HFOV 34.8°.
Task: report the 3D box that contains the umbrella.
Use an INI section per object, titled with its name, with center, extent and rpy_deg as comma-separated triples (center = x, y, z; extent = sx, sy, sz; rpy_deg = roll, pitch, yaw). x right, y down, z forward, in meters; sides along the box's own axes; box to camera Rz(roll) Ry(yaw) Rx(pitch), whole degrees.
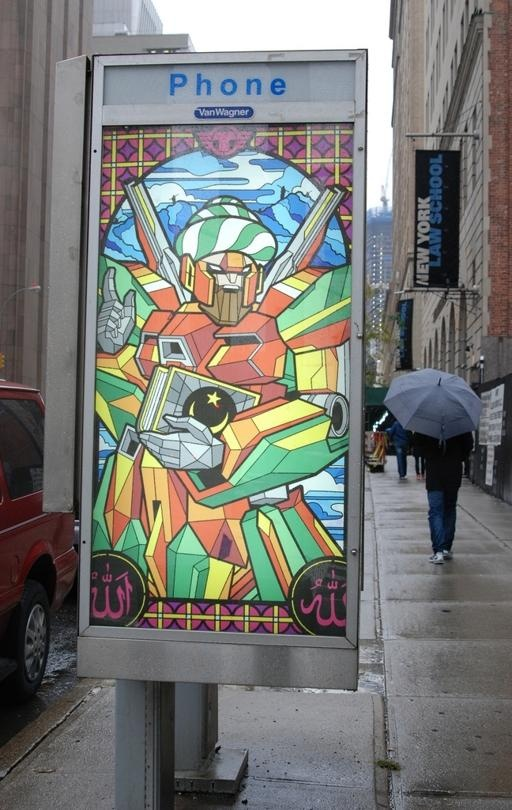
[umbrella]
center = 2.035, -0.007, 9.540
extent = 1.074, 0.859, 1.010
rpy_deg = -1, -1, 27

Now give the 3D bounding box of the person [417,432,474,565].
[person]
center = 2.216, 1.097, 9.593
extent = 0.648, 1.518, 0.671
rpy_deg = -1, -1, 14

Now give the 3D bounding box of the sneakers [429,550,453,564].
[sneakers]
center = 2.195, 1.808, 9.697
extent = 0.118, 0.141, 0.317
rpy_deg = 1, -1, 3
